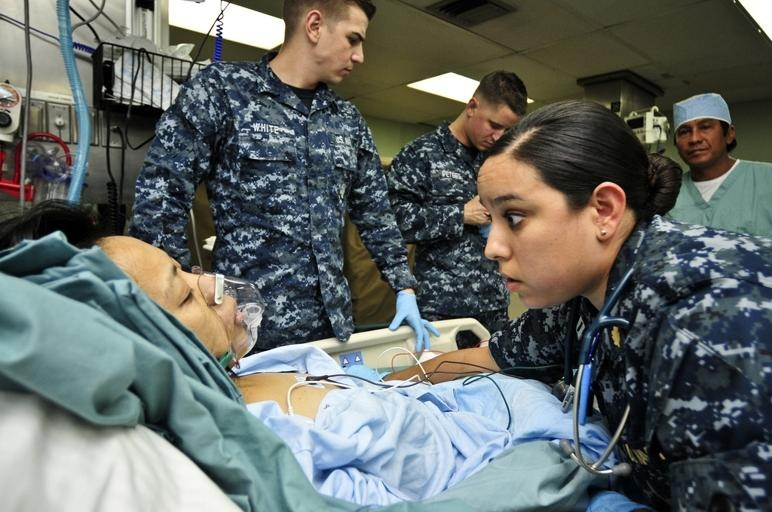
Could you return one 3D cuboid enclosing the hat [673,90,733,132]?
[{"bbox_3d":[2.158,-0.968,4.171,0.286,0.187,0.293,-12,-6,37],"label":"hat"}]

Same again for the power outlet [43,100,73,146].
[{"bbox_3d":[-1.523,-0.620,2.860,0.108,0.189,0.036,-3,4,-44],"label":"power outlet"}]

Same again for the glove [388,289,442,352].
[{"bbox_3d":[0.134,0.303,2.871,0.240,0.268,0.092,-17,-9,-46],"label":"glove"}]
